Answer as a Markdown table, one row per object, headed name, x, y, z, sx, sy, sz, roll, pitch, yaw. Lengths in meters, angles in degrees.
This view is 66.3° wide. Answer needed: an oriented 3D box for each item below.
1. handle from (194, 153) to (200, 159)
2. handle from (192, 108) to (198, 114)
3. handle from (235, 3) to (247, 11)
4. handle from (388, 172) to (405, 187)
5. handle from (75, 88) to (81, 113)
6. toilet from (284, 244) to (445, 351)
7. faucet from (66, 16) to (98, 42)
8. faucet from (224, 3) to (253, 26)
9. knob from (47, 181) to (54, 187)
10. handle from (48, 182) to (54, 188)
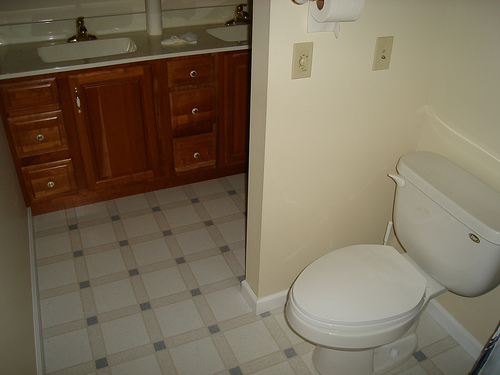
| name | x | y | z | sx | sy | sz | roll | pitch | yaw |
| --- | --- | --- | --- | --- | --- | --- | --- | --- | --- |
| handle | -0.405 | -0.241 | 2.891 | 0.030 | 0.029 | 0.009 | -5 | 29 | -17 |
| handle | -0.398 | -0.550 | 2.751 | 0.033 | 0.033 | 0.008 | -5 | 22 | -27 |
| handle | -0.074 | -1.411 | 3.014 | 0.075 | 0.038 | 0.056 | -28 | 30 | -16 |
| handle | 0.705 | -0.047 | 1.818 | 0.080 | 0.030 | 0.048 | 43 | 76 | 3 |
| handle | -1.099 | -0.552 | 2.432 | 0.031 | 0.156 | 0.016 | -16 | 39 | -22 |
| toilet | 0.538 | 0.462 | 1.690 | 0.664 | 0.219 | 0.411 | -12 | 37 | -18 |
| faucet | -1.172 | -1.080 | 2.684 | 0.212 | 0.164 | 0.160 | -21 | 61 | -34 |
| faucet | -0.112 | -1.370 | 3.034 | 0.176 | 0.152 | 0.107 | -1 | 36 | -4 |
| knob | -1.350 | -0.024 | 2.580 | 0.026 | 0.026 | 0.020 | -27 | 56 | 20 |
| handle | -1.352 | -0.026 | 2.582 | 0.031 | 0.032 | 0.009 | -2 | 15 | -31 |
